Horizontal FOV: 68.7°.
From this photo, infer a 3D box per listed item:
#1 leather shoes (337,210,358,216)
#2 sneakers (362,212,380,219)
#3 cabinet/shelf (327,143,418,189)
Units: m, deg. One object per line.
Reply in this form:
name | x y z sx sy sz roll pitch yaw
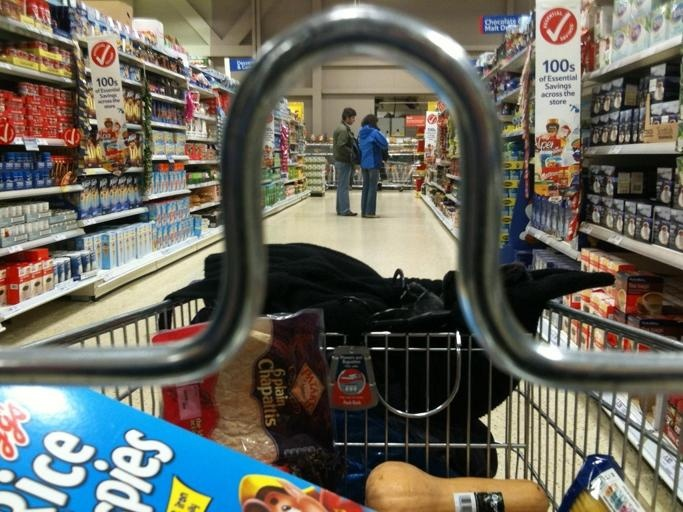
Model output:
leather shoes | 0.117 -0.786 9.290 0.385 0.172 0.148 -2 8 -4
sneakers | 0.525 -0.734 8.953 0.295 0.141 0.104 3 9 -10
cabinet/shelf | 1.540 -2.928 16.461 2.364 1.825 1.520 1 4 6
